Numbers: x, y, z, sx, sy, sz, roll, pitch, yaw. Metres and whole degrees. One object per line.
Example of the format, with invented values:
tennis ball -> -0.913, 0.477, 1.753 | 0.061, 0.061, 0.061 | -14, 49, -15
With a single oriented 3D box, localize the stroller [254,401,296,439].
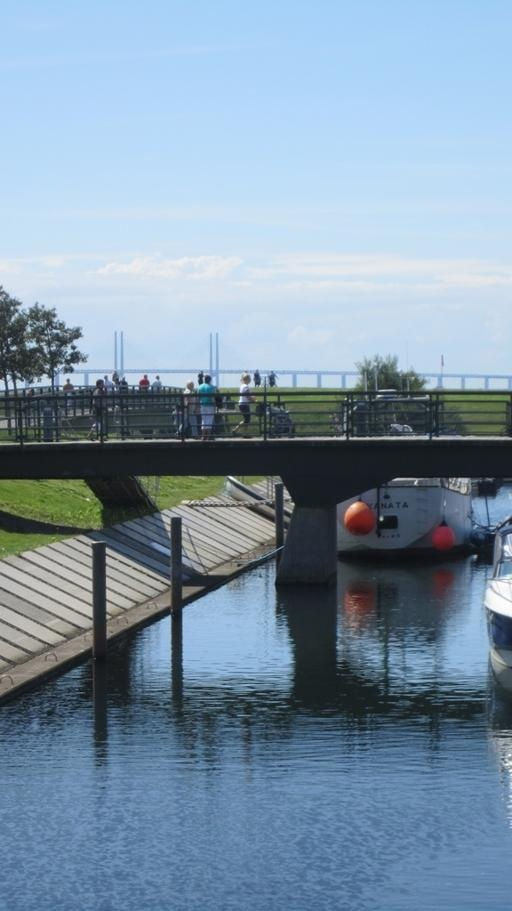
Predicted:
stroller -> 0.420, -0.733, 31.084 | 0.461, 0.785, 1.714 | -2, -1, 6
